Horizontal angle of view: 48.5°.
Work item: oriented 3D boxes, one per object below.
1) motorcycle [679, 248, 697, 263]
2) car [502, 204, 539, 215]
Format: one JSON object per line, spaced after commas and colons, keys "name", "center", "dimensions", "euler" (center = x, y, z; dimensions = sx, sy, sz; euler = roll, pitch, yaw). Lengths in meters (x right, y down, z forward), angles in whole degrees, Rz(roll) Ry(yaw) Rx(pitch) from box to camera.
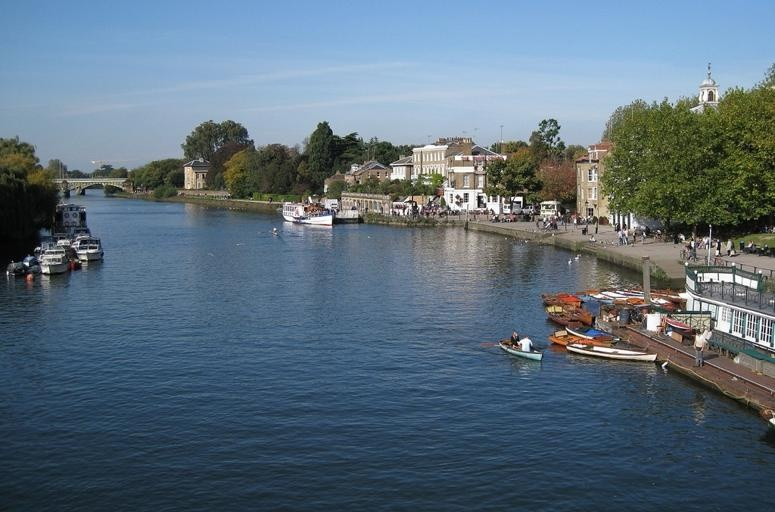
{"name": "motorcycle", "center": [34.650, -0.136, 99.114], "dimensions": [1.744, 1.703, 1.688], "euler": [6, -8, -3]}
{"name": "car", "center": [26.723, -9.423, 174.437], "dimensions": [4.162, 1.540, 3.893], "euler": [0, 0, -7]}
